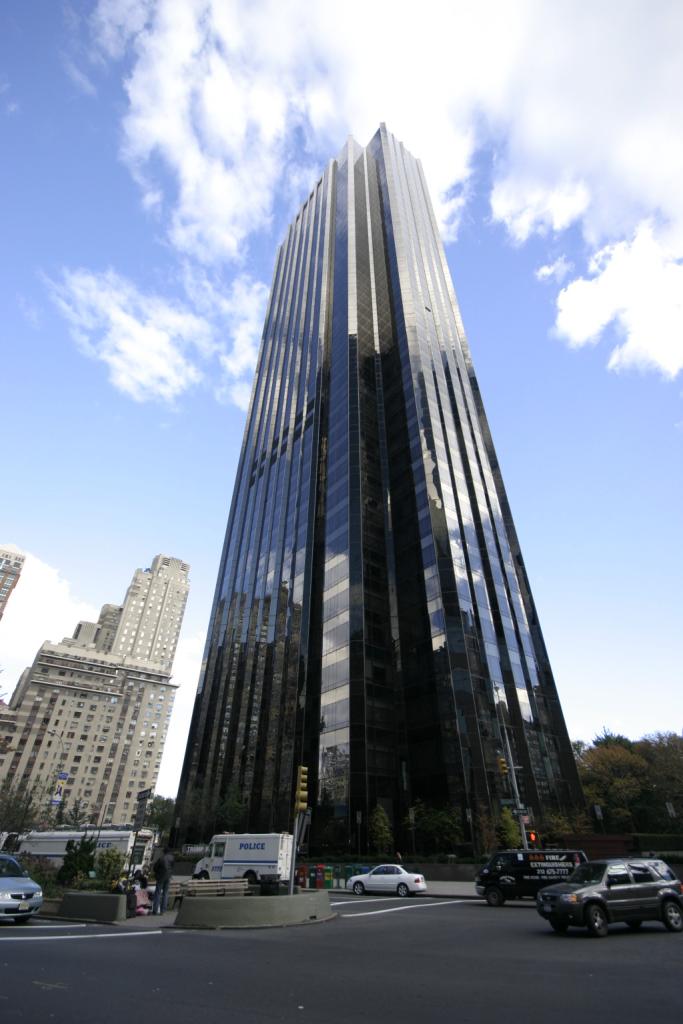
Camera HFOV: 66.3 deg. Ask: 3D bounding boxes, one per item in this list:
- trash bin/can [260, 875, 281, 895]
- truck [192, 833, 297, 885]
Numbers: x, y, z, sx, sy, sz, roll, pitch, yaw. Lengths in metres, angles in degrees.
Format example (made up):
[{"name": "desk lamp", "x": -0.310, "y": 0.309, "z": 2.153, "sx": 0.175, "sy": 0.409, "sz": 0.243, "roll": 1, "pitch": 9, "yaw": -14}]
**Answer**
[{"name": "trash bin/can", "x": -2.484, "y": 13.061, "z": 18.281, "sx": 0.645, "sy": 0.405, "sz": 1.974, "roll": 5, "pitch": -30, "yaw": -7}, {"name": "truck", "x": -5.175, "y": 18.301, "z": 27.888, "sx": 6.639, "sy": 2.213, "sz": 1.479, "roll": -26, "pitch": -40, "yaw": 38}]
